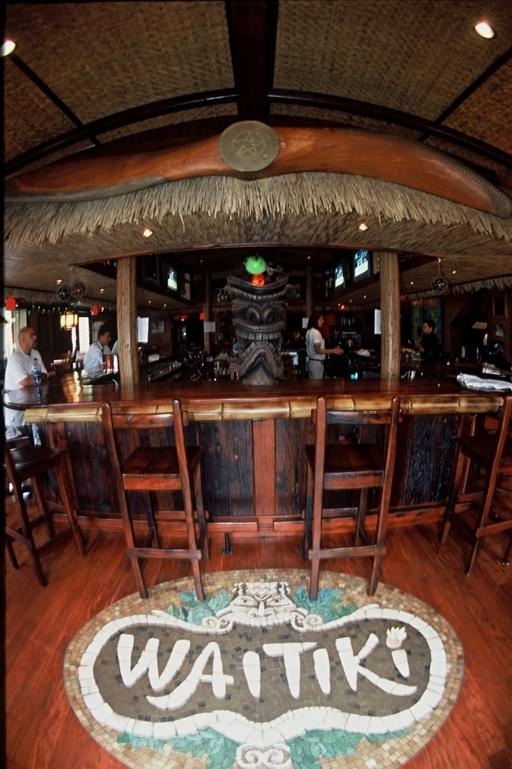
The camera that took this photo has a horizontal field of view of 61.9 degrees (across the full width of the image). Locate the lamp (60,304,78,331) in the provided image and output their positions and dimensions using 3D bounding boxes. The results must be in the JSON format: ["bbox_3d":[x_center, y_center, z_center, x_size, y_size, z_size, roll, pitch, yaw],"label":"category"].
[{"bbox_3d":[-3.393,-1.135,7.719,0.258,0.398,0.974,-4,10,-19],"label":"lamp"}]

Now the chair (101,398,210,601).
[{"bbox_3d":[-0.473,0.509,2.135,0.434,0.997,0.710,-2,9,-8],"label":"chair"}]

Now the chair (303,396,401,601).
[{"bbox_3d":[0.456,0.489,2.149,0.423,0.990,0.754,0,9,10],"label":"chair"}]

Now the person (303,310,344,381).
[{"bbox_3d":[0.730,-0.392,4.620,0.344,0.741,0.752,0,9,8],"label":"person"}]
